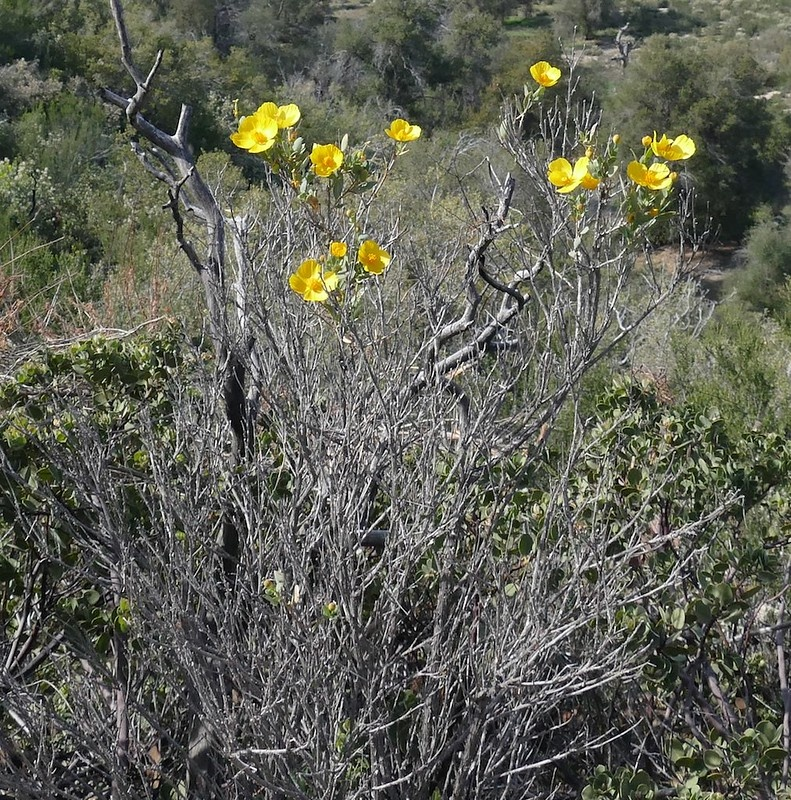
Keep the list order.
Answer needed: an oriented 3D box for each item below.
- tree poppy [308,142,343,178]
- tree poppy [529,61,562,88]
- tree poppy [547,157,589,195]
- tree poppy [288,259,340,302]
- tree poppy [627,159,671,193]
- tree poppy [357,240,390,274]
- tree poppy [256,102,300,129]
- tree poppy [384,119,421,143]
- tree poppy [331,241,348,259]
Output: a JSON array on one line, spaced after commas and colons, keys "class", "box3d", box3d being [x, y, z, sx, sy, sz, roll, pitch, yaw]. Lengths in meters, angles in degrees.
[{"class": "tree poppy", "box3d": [-0.789, -2.684, 18.456, 0.299, 0.387, 0.193, -26, 4, 2]}, {"class": "tree poppy", "box3d": [1.721, -3.734, 18.959, 0.266, 0.357, 0.153, 4, -13, -30]}, {"class": "tree poppy", "box3d": [1.949, -2.534, 18.718, 0.459, 0.481, 0.284, 9, 21, 3]}, {"class": "tree poppy", "box3d": [-0.925, -1.317, 18.453, 0.412, 0.549, 0.260, 23, 10, 13]}, {"class": "tree poppy", "box3d": [2.887, -2.536, 18.633, 0.323, 0.426, 0.199, 9, -23, -14]}, {"class": "tree poppy", "box3d": [-0.258, -1.570, 18.461, 0.319, 0.387, 0.152, 25, -20, -31]}, {"class": "tree poppy", "box3d": [-1.307, -3.199, 18.533, 0.297, 0.171, 0.357, -7, 44, -13]}, {"class": "tree poppy", "box3d": [0.067, -3.070, 18.829, 0.402, 0.303, 0.294, 6, 23, -7]}, {"class": "tree poppy", "box3d": [-0.648, -1.664, 18.492, 0.181, 0.147, 0.240, 3, 25, -13]}]
